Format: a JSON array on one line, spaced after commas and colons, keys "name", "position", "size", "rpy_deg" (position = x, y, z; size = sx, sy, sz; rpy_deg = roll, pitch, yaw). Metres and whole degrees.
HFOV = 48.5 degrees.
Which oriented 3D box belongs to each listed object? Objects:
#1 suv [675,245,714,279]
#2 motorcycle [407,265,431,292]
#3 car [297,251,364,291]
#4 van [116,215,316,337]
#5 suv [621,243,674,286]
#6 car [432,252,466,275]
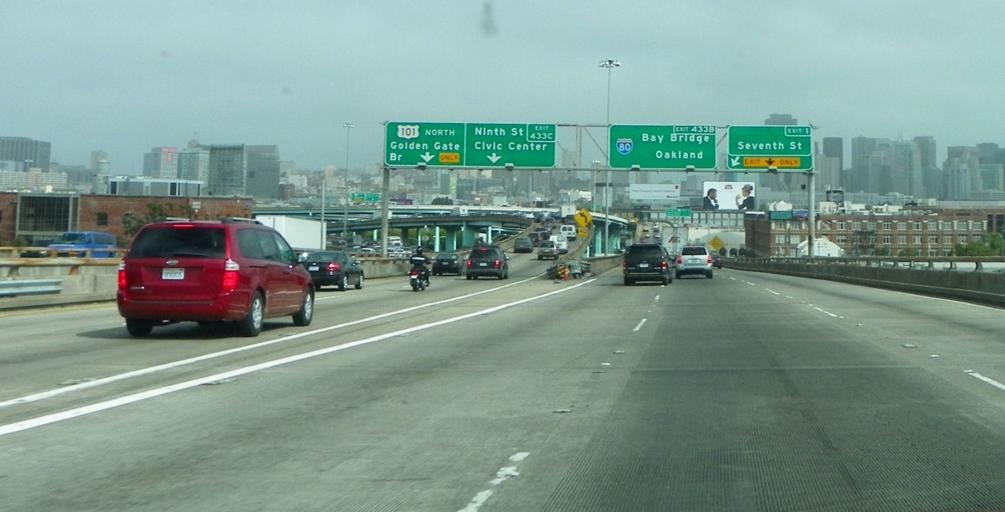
[{"name": "suv", "position": [10.595, 0.363, 61.811], "size": [1.940, 1.848, 1.853], "rpy_deg": [-2, 2, 5]}, {"name": "motorcycle", "position": [-3.645, 0.974, 49.516], "size": [0.450, 1.147, 0.999], "rpy_deg": [-1, 2, 24]}, {"name": "car", "position": [-7.958, 0.627, 52.058], "size": [2.281, 1.388, 4.942], "rpy_deg": [3, 1, 7]}, {"name": "van", "position": [-8.416, 0.581, 33.498], "size": [3.952, 2.712, 7.056], "rpy_deg": [2, 2, 9]}, {"name": "suv", "position": [6.965, 0.432, 54.052], "size": [2.154, 2.029, 1.842], "rpy_deg": [-2, 2, 4]}, {"name": "car", "position": [-3.327, 0.530, 67.826], "size": [1.337, 1.320, 1.669], "rpy_deg": [-1, 2, 33]}]
